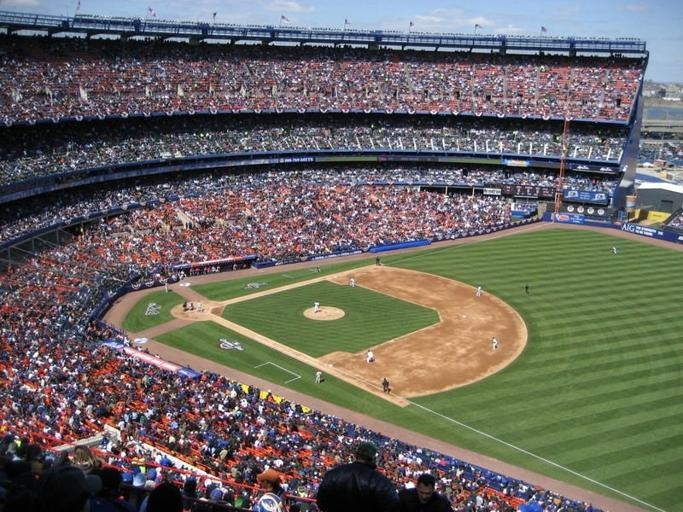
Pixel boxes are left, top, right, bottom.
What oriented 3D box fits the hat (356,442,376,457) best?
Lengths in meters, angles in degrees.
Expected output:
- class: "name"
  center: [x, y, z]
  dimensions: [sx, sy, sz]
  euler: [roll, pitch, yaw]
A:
- class: "hat"
  center: [0.913, 7.158, 28.304]
  dimensions: [0.704, 0.471, 0.697]
  euler: [2, 5, 39]
